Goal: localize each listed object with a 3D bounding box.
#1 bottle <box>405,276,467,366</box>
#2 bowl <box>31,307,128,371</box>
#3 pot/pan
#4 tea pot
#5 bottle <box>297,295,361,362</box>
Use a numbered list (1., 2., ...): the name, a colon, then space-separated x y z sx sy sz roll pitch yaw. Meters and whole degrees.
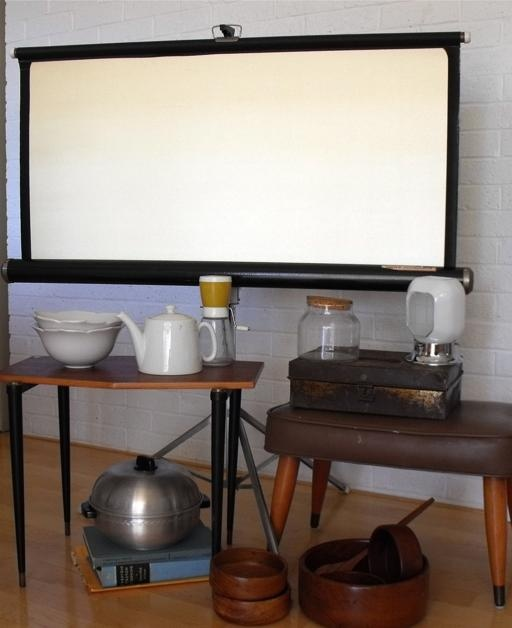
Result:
1. bottle: 0.415 0.014 1.379 0.126 0.203 0.122 1 2 0
2. bowl: -0.413 0.052 1.425 0.156 0.109 0.163 1 -3 0
3. pot/pan: -0.258 0.394 1.392 0.246 0.178 0.224 1 -4 -10
4. tea pot: -0.202 0.060 1.379 0.188 0.136 0.128 4 5 5
5. bottle: 0.176 0.029 1.422 0.140 0.142 0.145 1 3 9
